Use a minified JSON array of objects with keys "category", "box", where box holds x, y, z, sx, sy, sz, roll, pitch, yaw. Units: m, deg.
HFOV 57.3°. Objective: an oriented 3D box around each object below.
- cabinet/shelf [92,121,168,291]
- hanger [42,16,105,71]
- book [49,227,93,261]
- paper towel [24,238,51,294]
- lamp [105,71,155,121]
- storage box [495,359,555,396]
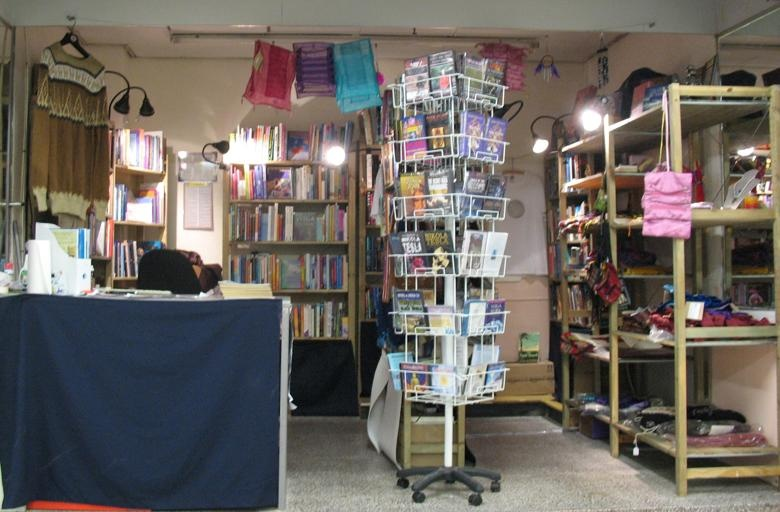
[{"category":"cabinet/shelf","box":[-2.744,-0.525,7.531,0.813,1.618,0.596,-2,5,-38]},{"category":"hanger","box":[-2.999,-2.003,6.691,0.044,0.554,0.619,-2,-5,25]},{"category":"book","box":[-2.367,-0.097,5.417,0.239,0.227,0.402,3,5,20]},{"category":"paper towel","box":[-2.496,0.073,5.081,0.165,0.372,0.214,-2,5,-33]},{"category":"lamp","box":[-2.776,-1.752,7.618,0.508,0.539,0.853,-1,5,-21]},{"category":"storage box","box":[1.339,1.219,7.091,0.610,0.336,0.383,-1,0,2]}]
